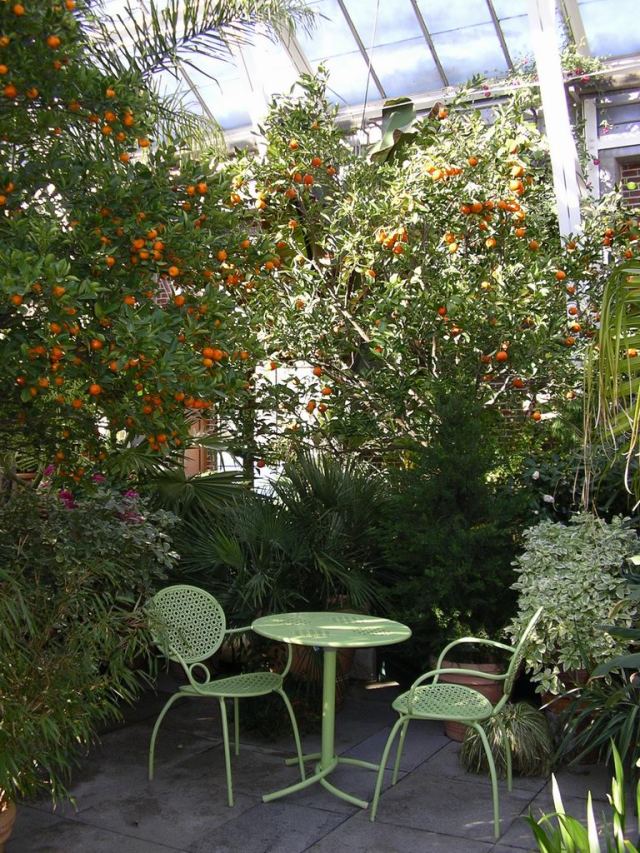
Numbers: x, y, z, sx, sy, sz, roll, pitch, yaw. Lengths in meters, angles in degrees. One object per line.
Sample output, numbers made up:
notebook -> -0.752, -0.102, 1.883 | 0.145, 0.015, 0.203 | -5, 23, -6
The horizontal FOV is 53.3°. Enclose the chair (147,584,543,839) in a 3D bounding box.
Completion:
chair -> 0.015, 1.085, 2.741 | 1.544, 0.780, 1.150 | -2, -9, 13
